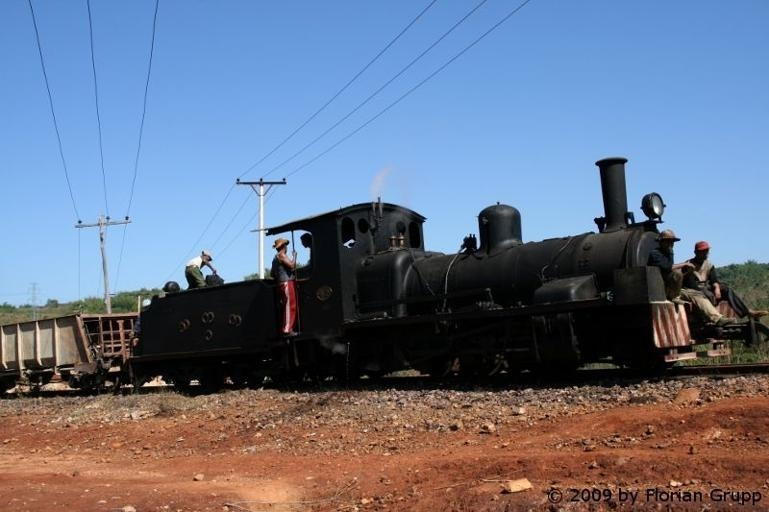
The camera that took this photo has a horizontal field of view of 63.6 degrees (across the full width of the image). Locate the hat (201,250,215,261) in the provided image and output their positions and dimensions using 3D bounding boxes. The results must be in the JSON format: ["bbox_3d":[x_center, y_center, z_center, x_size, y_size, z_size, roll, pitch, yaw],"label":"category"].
[{"bbox_3d":[-3.831,0.027,13.207,0.289,0.141,0.187,31,-2,-19],"label":"hat"}]

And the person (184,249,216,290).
[{"bbox_3d":[-5.070,0.450,17.166,0.909,1.187,0.703,0,-8,-3],"label":"person"}]

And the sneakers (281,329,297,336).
[{"bbox_3d":[-2.253,1.785,14.594,0.339,0.129,0.128,-3,6,5],"label":"sneakers"}]

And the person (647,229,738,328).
[{"bbox_3d":[5.660,0.447,11.747,1.553,1.697,0.674,-7,0,-26],"label":"person"}]

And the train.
[{"bbox_3d":[-6.174,1.803,20.979,30.027,6.499,5.603,-9,-10,35],"label":"train"}]

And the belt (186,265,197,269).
[{"bbox_3d":[-4.885,0.269,15.567,0.155,0.054,0.117,-7,1,3],"label":"belt"}]
